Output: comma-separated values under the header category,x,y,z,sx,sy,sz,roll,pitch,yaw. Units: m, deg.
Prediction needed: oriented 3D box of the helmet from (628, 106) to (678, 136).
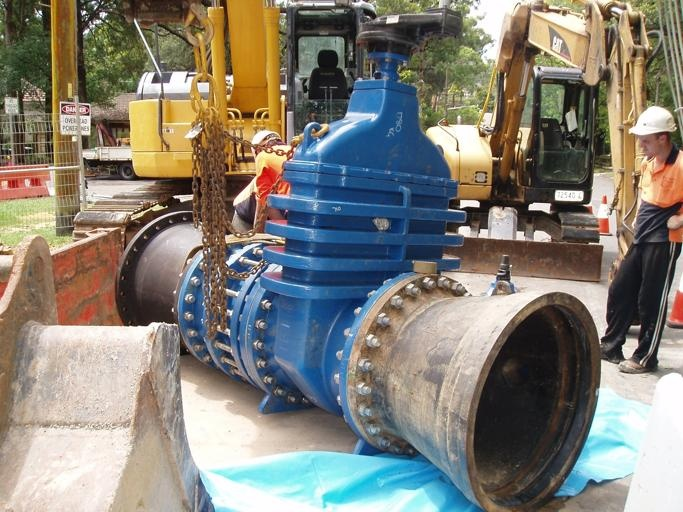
category,x,y,z,sx,sy,sz,roll,pitch,yaw
helmet,2.740,-1.181,5.137,0.337,0.260,0.349,10,13,41

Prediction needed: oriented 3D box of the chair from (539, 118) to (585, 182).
category,x,y,z,sx,sy,sz,roll,pitch,yaw
chair,3.608,-1.782,9.712,0.652,1.060,0.775,-7,12,-14

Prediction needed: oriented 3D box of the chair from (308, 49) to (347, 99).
category,x,y,z,sx,sy,sz,roll,pitch,yaw
chair,-0.169,-2.621,8.414,0.555,0.983,0.734,0,12,-2

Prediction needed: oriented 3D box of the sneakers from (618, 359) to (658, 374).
category,x,y,z,sx,sy,sz,roll,pitch,yaw
sneakers,2.712,0.997,5.360,0.346,0.184,0.144,-2,4,3

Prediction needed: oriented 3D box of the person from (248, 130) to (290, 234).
category,x,y,z,sx,sy,sz,roll,pitch,yaw
person,-0.557,-0.563,4.802,0.308,0.911,1.619,0,10,-8
